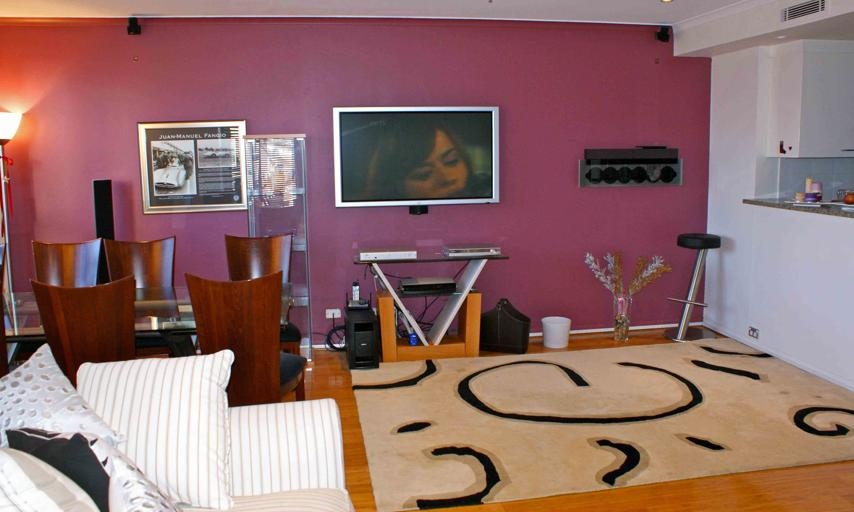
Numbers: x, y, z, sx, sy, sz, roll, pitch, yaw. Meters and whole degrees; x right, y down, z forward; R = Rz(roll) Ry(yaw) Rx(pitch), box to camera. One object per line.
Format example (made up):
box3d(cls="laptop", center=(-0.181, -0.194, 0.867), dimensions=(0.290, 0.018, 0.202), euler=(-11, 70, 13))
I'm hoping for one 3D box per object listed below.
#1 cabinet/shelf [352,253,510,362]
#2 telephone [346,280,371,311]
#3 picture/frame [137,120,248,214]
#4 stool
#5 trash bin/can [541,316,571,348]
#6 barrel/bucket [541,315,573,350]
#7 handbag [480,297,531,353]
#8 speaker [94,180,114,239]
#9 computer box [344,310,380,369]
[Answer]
box3d(cls="cabinet/shelf", center=(-0.017, 0.539, 6.502), dimensions=(1.147, 0.792, 0.393), euler=(-1, 5, -11))
box3d(cls="telephone", center=(-0.721, 0.393, 6.519), dimensions=(0.299, 0.315, 0.290), euler=(0, 8, -1))
box3d(cls="picture/frame", center=(-2.493, -0.988, 6.472), dimensions=(1.045, 0.833, 0.045), euler=(-1, 12, -7))
box3d(cls="stool", center=(2.988, 0.298, 6.958), dimensions=(0.518, 1.142, 0.756), euler=(3, 9, 25))
box3d(cls="trash bin/can", center=(1.408, 0.810, 6.799), dimensions=(0.293, 0.241, 0.326), euler=(2, 6, 2))
box3d(cls="barrel/bucket", center=(1.402, 0.817, 6.730), dimensions=(0.299, 0.245, 0.332), euler=(3, 4, -1))
box3d(cls="handbag", center=(0.838, 0.739, 6.704), dimensions=(0.614, 0.522, 0.426), euler=(-1, 8, 5))
box3d(cls="speaker", center=(-3.238, -0.498, 6.227), dimensions=(0.179, 0.581, 0.300), euler=(-5, 9, -26))
box3d(cls="computer box", center=(-0.664, 0.878, 6.381), dimensions=(0.304, 0.481, 0.519), euler=(-2, -1, -7))
